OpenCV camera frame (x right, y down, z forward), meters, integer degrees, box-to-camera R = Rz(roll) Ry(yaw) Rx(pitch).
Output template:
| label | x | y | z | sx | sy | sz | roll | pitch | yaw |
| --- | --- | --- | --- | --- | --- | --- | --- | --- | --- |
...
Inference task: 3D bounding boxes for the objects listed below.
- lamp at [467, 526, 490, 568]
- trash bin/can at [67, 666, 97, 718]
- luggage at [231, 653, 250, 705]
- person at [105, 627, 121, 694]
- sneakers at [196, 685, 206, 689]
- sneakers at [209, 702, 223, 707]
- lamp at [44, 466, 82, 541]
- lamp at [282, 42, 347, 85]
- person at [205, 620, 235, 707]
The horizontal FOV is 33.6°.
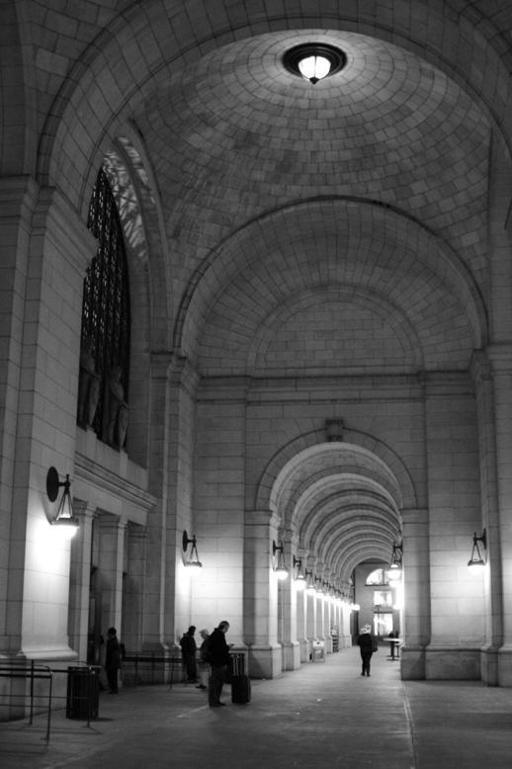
| label | x | y | z | sx | sy | sz | roll | pitch | yaw |
| --- | --- | --- | --- | --- | --- | --- | --- | --- | --- |
| lamp | 5.168 | 3.846 | 19.995 | 0.449 | 0.941 | 1.475 | -4 | -18 | 13 |
| trash bin/can | -2.116 | 3.771 | 10.346 | 0.387 | 0.636 | 0.951 | 3 | -18 | -12 |
| luggage | -0.224 | 4.818 | 13.845 | 0.257 | 0.768 | 0.273 | 16 | -23 | -40 |
| person | -2.618 | 4.983 | 15.396 | 0.247 | 1.181 | 1.150 | 2 | -17 | -9 |
| sneakers | -1.142 | 6.208 | 17.445 | 0.115 | 0.070 | 0.174 | 2 | -8 | 0 |
| sneakers | -0.614 | 4.882 | 12.959 | 0.257 | 0.068 | 0.137 | 8 | -20 | -25 |
| lamp | -2.637 | 1.591 | 11.576 | 0.376 | 0.934 | 0.657 | 1 | -16 | -5 |
| lamp | 1.092 | -5.967 | 16.058 | 1.220 | 0.555 | 0.835 | 0 | -18 | -1 |
| person | -0.596 | 4.407 | 13.455 | 0.455 | 1.245 | 0.471 | 11 | -23 | -28 |
